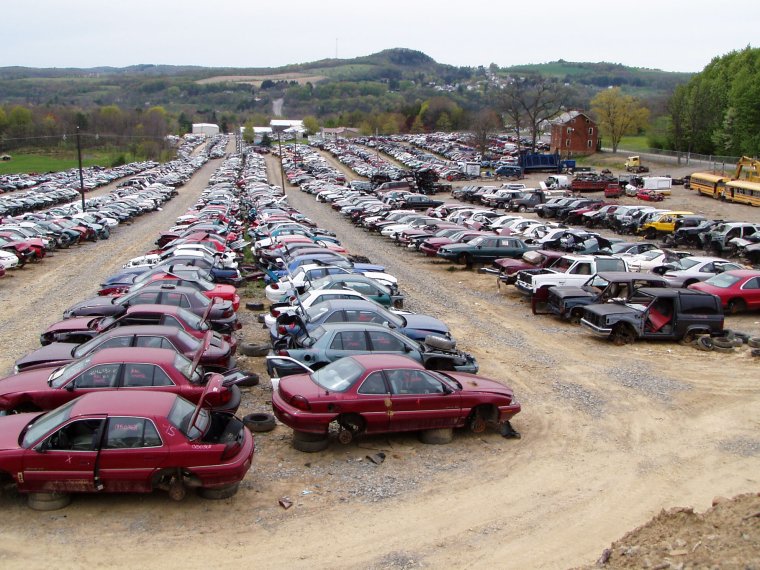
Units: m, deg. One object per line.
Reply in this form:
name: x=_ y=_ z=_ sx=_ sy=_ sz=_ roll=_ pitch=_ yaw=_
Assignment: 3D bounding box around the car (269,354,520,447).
car: x=0.502 y=2.370 z=12.628 sx=5.047 sy=1.081 sz=2.199 roll=-2 pitch=7 yaw=-13
